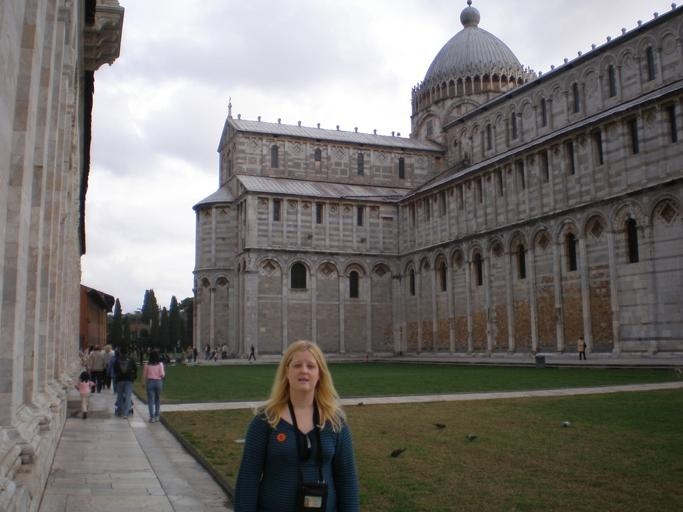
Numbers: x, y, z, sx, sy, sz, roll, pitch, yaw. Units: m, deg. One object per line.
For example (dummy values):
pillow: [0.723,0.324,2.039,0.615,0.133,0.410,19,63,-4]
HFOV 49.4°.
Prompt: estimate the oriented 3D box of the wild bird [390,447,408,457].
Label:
wild bird: [1.031,3.614,13.751,0.276,0.149,0.532,-1,-8,6]

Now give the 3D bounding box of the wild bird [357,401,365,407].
wild bird: [0.530,4.116,20.624,0.175,0.131,0.098,3,-8,-32]
